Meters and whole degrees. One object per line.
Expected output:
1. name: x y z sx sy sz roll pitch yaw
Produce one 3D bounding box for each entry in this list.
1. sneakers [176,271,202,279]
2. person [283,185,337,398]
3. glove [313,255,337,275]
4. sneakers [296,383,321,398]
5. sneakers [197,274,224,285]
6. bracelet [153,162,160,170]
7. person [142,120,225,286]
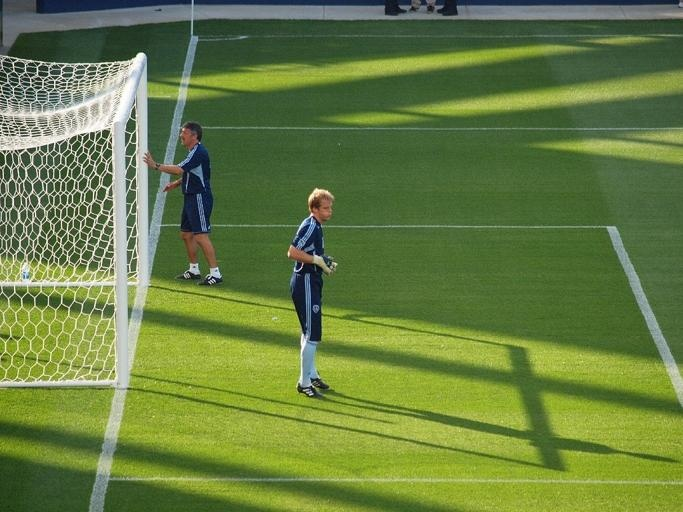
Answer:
1. sneakers: -2.111 0.271 15.997 0.362 0.128 0.115 2 2 5
2. person: -0.339 0.463 13.499 0.543 2.480 0.461 7 17 11
3. glove: -0.199 0.100 13.318 0.276 0.104 0.164 29 35 -33
4. sneakers: -0.377 1.609 13.778 0.339 0.134 0.114 12 21 -3
5. sneakers: -1.798 0.349 15.847 0.351 0.124 0.123 -1 3 9
6. bracelet: -2.413 -1.173 15.099 0.087 0.119 0.116 1 10 -9
7. person: -2.006 -0.693 15.592 0.889 2.209 0.545 2 17 -7
